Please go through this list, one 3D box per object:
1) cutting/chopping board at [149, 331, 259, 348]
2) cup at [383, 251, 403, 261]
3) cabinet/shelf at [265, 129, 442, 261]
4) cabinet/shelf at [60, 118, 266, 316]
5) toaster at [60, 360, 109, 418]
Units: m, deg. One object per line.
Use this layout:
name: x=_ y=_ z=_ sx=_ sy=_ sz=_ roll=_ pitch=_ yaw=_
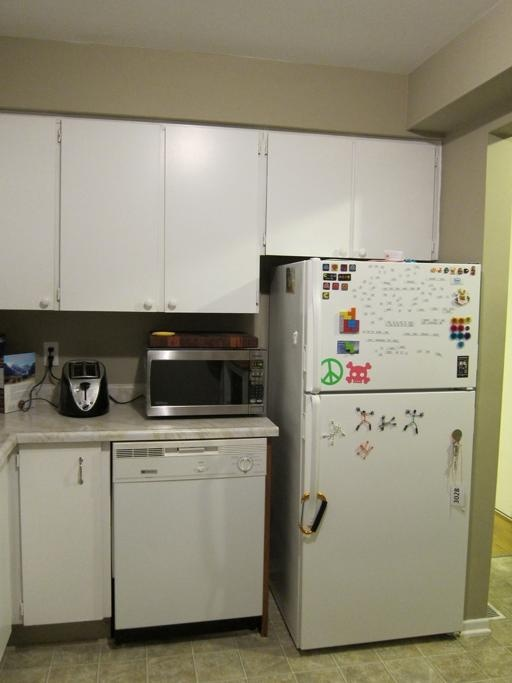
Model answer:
cutting/chopping board: x=-0.214 y=0.000 z=2.182 sx=0.423 sy=0.055 sz=0.078 roll=1 pitch=6 yaw=-12
cup: x=0.515 y=-0.323 z=2.077 sx=0.073 sy=0.040 sz=0.077 roll=1 pitch=1 yaw=0
cabinet/shelf: x=0.399 y=-0.630 z=2.379 sx=0.773 sy=0.633 sz=0.508 roll=0 pitch=3 yaw=-13
cabinet/shelf: x=-0.406 y=-0.512 z=2.199 sx=0.649 sy=0.692 sz=0.281 roll=0 pitch=2 yaw=-11
toaster: x=-0.725 y=0.194 z=2.300 sx=0.178 sy=0.215 sz=0.345 roll=-2 pitch=15 yaw=-22
